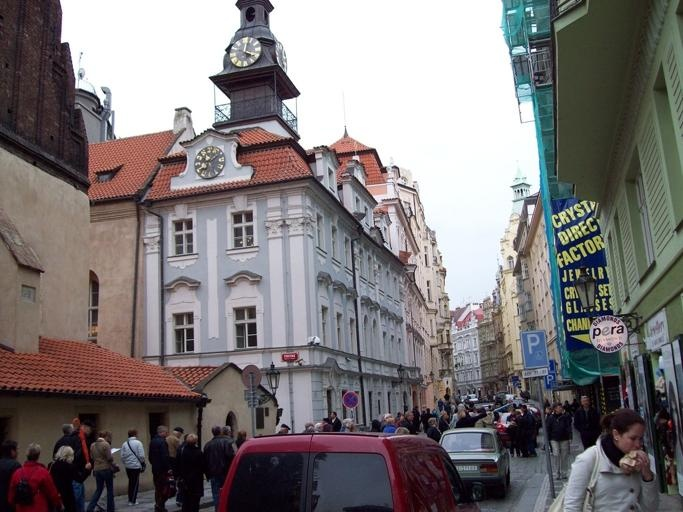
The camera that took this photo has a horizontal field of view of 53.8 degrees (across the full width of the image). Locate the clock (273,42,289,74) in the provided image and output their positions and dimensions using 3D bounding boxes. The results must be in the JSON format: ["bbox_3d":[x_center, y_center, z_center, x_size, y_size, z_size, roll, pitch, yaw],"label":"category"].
[{"bbox_3d":[-3.616,-11.806,40.360,0.464,2.553,1.689,-7,-18,6],"label":"clock"}]

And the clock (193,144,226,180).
[{"bbox_3d":[-6.339,-4.529,32.765,1.335,1.681,0.170,-11,-19,12],"label":"clock"}]

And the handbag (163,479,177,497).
[{"bbox_3d":[-4.193,5.677,16.550,0.236,0.401,0.654,0,-20,-16],"label":"handbag"}]

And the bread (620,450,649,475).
[{"bbox_3d":[3.100,2.193,7.115,0.265,0.260,0.216,2,-20,-21],"label":"bread"}]

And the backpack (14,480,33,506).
[{"bbox_3d":[-5.244,3.919,11.151,0.296,0.433,0.229,-3,-25,-8],"label":"backpack"}]
